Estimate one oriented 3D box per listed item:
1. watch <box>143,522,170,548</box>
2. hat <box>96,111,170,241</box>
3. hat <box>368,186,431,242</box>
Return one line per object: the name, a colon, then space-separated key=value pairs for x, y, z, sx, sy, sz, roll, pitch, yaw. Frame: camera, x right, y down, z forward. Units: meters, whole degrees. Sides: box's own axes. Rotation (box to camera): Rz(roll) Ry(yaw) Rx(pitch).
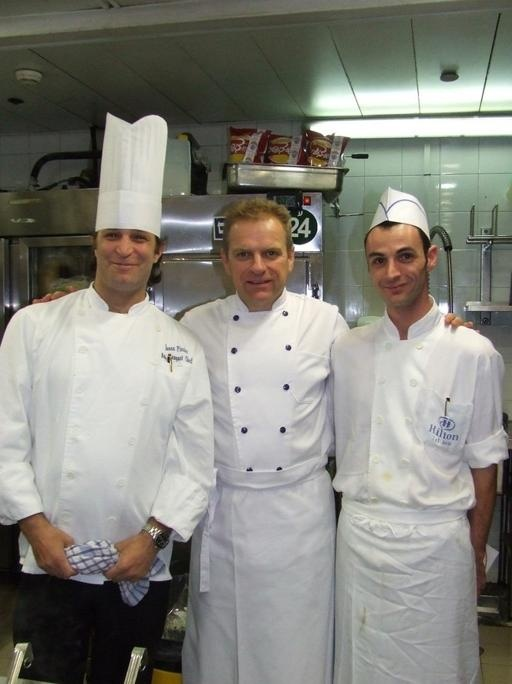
watch: x=-0.217 y=0.413 z=1.330 sx=0.046 sy=0.048 sz=0.031 roll=14 pitch=54 yaw=38
hat: x=-0.305 y=-0.404 z=1.508 sx=0.177 sy=0.296 sz=0.160 roll=-2 pitch=6 yaw=-20
hat: x=0.341 y=-0.303 z=1.472 sx=0.123 sy=0.076 sz=0.142 roll=0 pitch=-7 yaw=24
